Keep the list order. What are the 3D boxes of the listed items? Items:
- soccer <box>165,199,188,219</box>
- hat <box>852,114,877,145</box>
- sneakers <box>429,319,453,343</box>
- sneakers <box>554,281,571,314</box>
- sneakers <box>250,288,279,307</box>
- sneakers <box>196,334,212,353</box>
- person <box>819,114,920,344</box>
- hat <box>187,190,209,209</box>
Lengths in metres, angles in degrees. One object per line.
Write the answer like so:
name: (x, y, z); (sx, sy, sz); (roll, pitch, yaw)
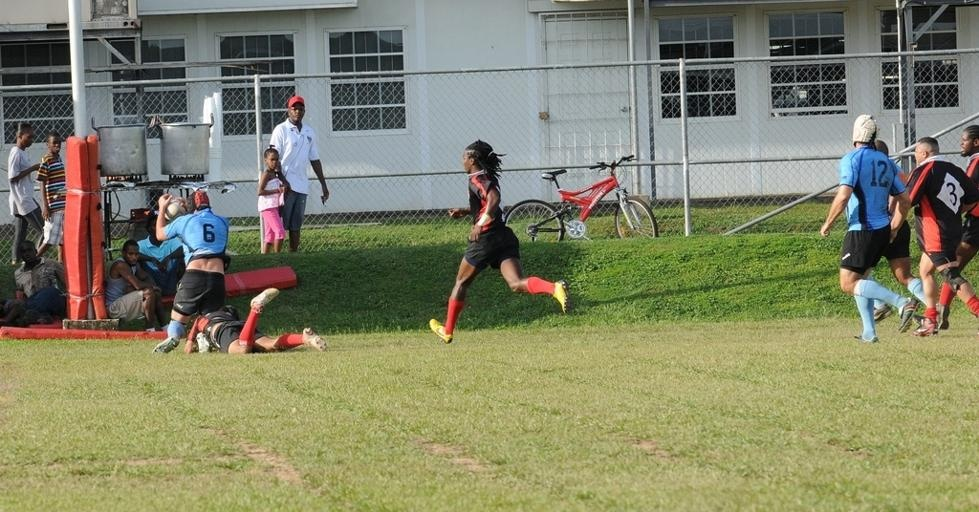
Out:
soccer: (-5.537, -0.832, 25.480); (0.312, 0.312, 0.399); (-3, 4, -15)
hat: (6.496, -2.184, 25.082); (0.497, 0.562, 0.590); (0, 0, 4)
sneakers: (-0.857, 1.326, 25.607); (0.231, 0.211, 0.607); (-16, 47, -42)
sneakers: (1.249, 0.766, 24.863); (0.288, 0.605, 0.234); (-9, 26, 14)
sneakers: (-3.972, 0.750, 25.574); (0.581, 0.236, 0.200); (-32, -31, 24)
sneakers: (-4.963, 1.502, 25.031); (0.241, 0.330, 0.085); (0, 5, 22)
person: (6.531, -0.485, 24.787); (1.412, 3.854, 0.794); (-3, 4, -8)
hat: (-5.091, -0.984, 25.542); (0.325, 0.383, 0.414); (7, -3, -21)
